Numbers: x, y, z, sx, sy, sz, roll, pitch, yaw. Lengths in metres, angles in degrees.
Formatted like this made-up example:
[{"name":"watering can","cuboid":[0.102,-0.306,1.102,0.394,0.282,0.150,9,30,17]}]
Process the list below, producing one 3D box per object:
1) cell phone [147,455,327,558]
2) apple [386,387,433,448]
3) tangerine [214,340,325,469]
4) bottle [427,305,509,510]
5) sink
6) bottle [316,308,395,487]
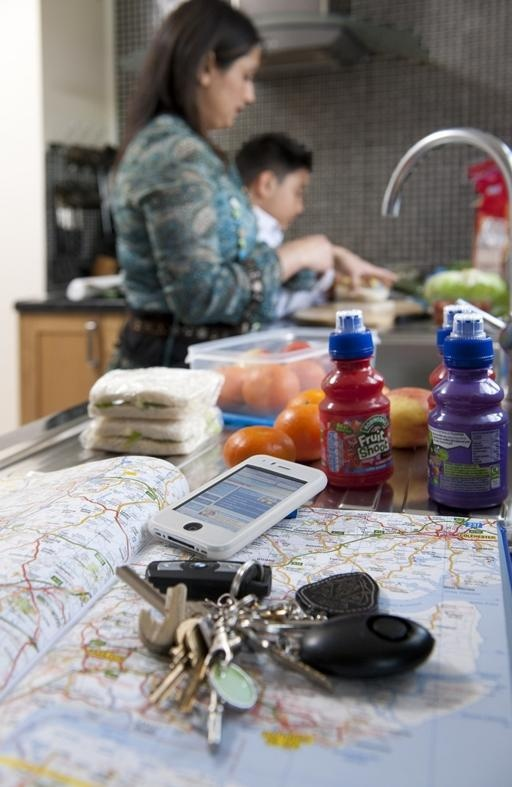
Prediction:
[{"name":"cell phone","cuboid":[-0.011,0.086,0.570,0.080,0.012,0.134,17,29,38]},{"name":"apple","cuboid":[0.159,0.020,0.765,0.040,0.063,0.048,4,12,18]},{"name":"tangerine","cuboid":[0.022,0.010,0.744,0.093,0.124,0.112,-2,9,5]},{"name":"bottle","cuboid":[0.165,0.003,0.568,0.053,0.168,0.053,-2,11,0]},{"name":"sink","cuboid":[0.298,-0.047,1.273,0.189,0.072,0.208,-1,11,3]},{"name":"bottle","cuboid":[0.088,0.005,0.653,0.068,0.153,0.064,-4,11,1]}]
